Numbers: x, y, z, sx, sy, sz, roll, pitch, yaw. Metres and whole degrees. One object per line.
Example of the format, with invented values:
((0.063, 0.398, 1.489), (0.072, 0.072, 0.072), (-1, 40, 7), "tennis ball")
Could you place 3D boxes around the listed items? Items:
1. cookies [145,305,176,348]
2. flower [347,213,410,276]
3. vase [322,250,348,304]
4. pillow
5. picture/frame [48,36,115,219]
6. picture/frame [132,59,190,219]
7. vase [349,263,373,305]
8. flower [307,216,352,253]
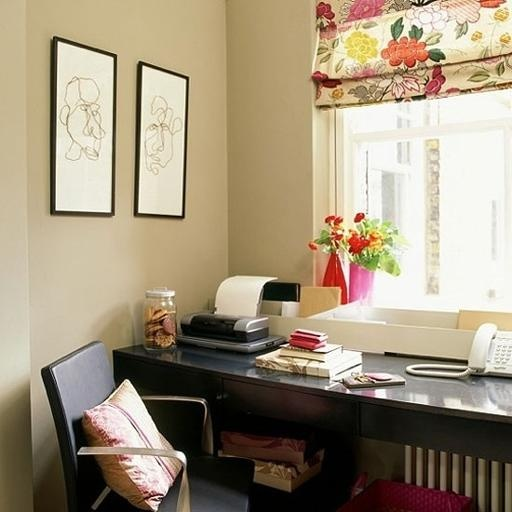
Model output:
((-0.439, 0.328, 2.223), (0.155, 0.198, 0.164), (1, -2, 1), "cookies")
((0.602, -0.080, 2.295), (0.339, 0.166, 0.362), (10, -20, -38), "flower")
((0.401, 0.092, 2.388), (0.121, 0.260, 0.242), (-4, 10, 11), "vase")
((-0.357, 0.581, 1.465), (0.253, 0.337, 0.488), (0, -4, 0), "pillow")
((-0.726, -0.532, 1.977), (0.028, 0.728, 0.409), (2, 13, 38), "picture/frame")
((-0.465, -0.560, 2.313), (0.054, 0.760, 0.436), (1, 12, 35), "picture/frame")
((0.543, 0.116, 2.371), (0.128, 0.227, 0.136), (1, 25, 12), "vase")
((0.388, -0.131, 2.332), (0.167, 0.086, 0.206), (-3, 24, 38), "flower")
